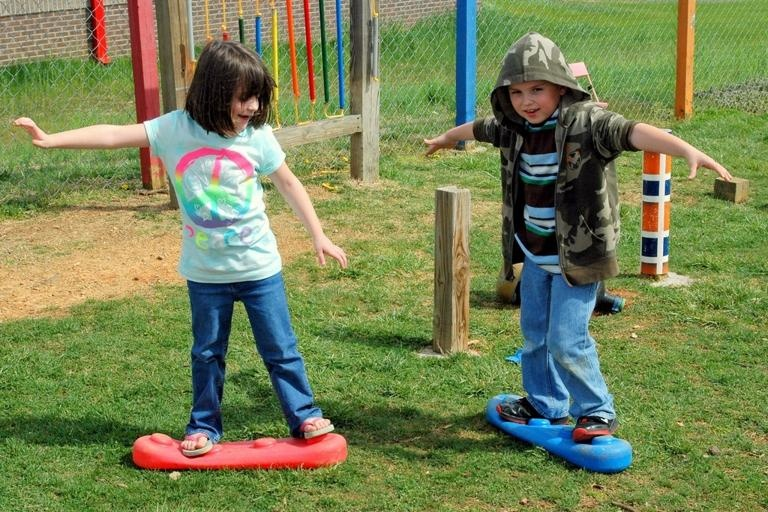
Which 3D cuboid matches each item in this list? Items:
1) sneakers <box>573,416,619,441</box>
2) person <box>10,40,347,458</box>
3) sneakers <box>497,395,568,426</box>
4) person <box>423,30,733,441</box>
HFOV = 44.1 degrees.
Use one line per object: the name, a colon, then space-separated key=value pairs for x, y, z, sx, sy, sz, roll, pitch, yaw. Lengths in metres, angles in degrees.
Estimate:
sneakers: x=1.284 y=1.061 z=5.851 sx=0.126 sy=0.121 sz=0.266 roll=6 pitch=13 yaw=42
person: x=-0.954 y=-0.038 z=5.747 sx=1.419 sy=2.463 sz=0.411 roll=-2 pitch=12 yaw=-3
sneakers: x=0.967 y=0.976 z=6.184 sx=0.449 sy=0.186 sz=0.177 roll=8 pitch=6 yaw=12
person: x=1.152 y=-0.112 z=5.847 sx=1.001 sy=2.461 sz=0.516 roll=1 pitch=12 yaw=12
